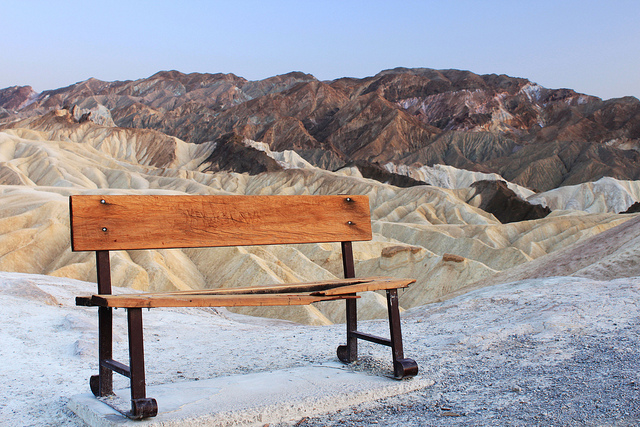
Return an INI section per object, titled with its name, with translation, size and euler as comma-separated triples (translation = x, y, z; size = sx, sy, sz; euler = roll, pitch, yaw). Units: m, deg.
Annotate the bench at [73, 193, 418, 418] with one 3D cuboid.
[bench]
translation = -0.623, 0.746, 6.005
size = 3.958, 1.714, 1.634
euler = 0, 16, -46
